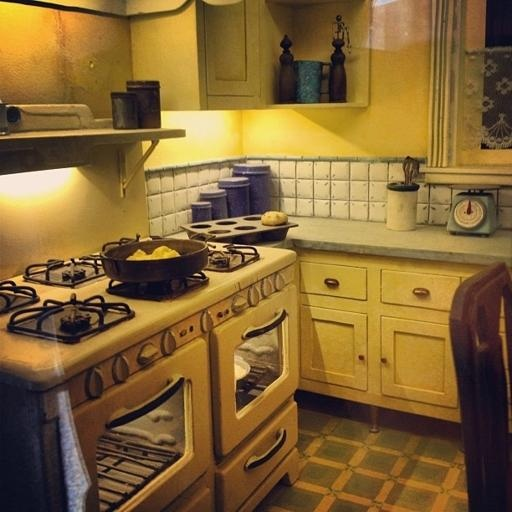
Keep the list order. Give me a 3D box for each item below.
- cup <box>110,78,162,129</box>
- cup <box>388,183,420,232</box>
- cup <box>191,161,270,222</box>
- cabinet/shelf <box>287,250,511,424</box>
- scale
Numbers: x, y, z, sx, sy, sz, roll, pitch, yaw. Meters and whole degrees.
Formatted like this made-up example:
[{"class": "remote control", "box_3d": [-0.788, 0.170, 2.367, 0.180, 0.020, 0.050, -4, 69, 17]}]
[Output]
[{"class": "cup", "box_3d": [-0.434, -0.560, 1.785, 0.136, 0.210, 0.242, 9, 16, 38]}, {"class": "cup", "box_3d": [0.742, -0.248, 2.455, 0.159, 0.235, 0.160, -2, 12, 0]}, {"class": "cup", "box_3d": [-0.143, -0.395, 2.794, 0.349, 0.361, 0.335, -3, 13, 1]}, {"class": "cabinet/shelf", "box_3d": [0.542, 0.287, 1.890, 0.789, 0.592, 0.302, 4, 9, 27]}, {"class": "scale", "box_3d": [1.047, -0.221, 2.333, 0.204, 0.223, 0.238, 5, 14, 29]}]
